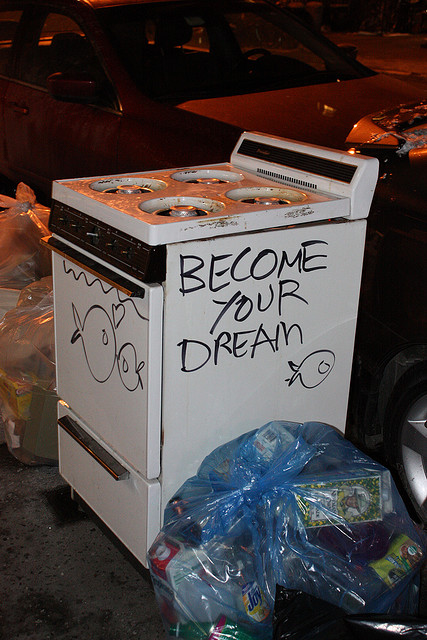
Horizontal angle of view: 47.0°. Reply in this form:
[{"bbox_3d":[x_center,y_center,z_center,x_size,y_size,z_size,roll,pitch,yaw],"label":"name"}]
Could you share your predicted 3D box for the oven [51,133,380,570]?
[{"bbox_3d":[-0.115,0.063,1.651,0.901,1.234,0.751,-14,28,-33],"label":"oven"}]
